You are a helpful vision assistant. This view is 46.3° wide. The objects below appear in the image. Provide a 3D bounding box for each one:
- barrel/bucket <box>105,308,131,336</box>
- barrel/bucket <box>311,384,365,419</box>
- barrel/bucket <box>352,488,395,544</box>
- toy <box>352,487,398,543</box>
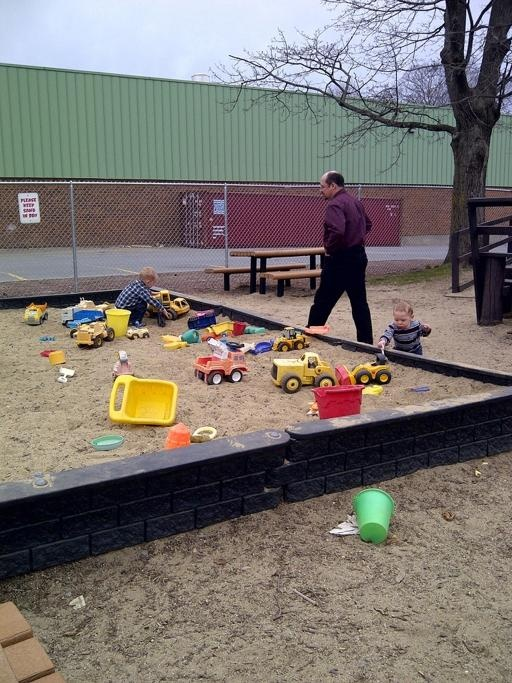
[{"bbox_3d":[-1.628,-0.216,7.153,0.308,0.265,0.305,3,6,0],"label":"barrel/bucket"},{"bbox_3d":[0.541,0.388,3.861,0.334,0.202,0.222,-2,1,-16],"label":"barrel/bucket"},{"bbox_3d":[0.541,0.813,2.767,0.211,0.181,0.152,12,27,5],"label":"barrel/bucket"},{"bbox_3d":[0.548,0.817,2.772,0.212,0.183,0.153,15,27,5],"label":"toy"}]
